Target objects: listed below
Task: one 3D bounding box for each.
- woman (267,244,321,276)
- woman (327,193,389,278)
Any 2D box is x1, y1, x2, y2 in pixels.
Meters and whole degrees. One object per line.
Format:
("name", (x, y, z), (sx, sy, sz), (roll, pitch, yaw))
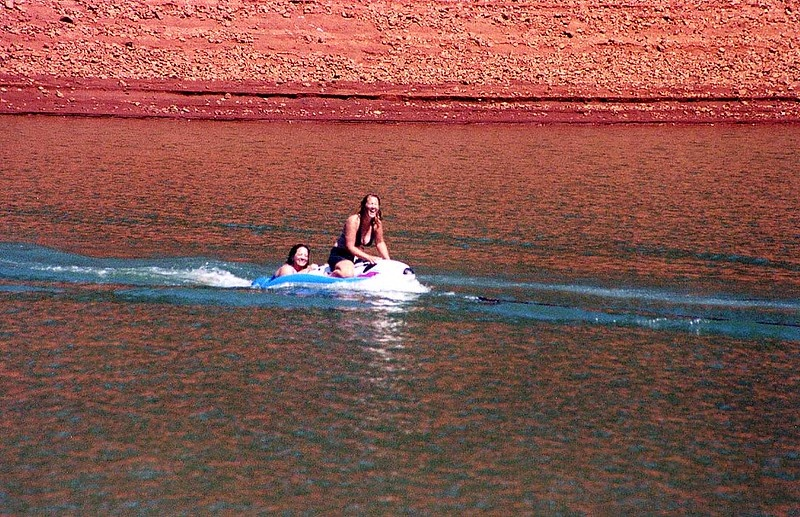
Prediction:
("woman", (-1.929, 0.056, 16.159), (0.996, 0.645, 0.443), (6, -4, -28))
("woman", (-0.611, -0.383, 15.262), (0.940, 1.470, 0.655), (4, 23, -13))
